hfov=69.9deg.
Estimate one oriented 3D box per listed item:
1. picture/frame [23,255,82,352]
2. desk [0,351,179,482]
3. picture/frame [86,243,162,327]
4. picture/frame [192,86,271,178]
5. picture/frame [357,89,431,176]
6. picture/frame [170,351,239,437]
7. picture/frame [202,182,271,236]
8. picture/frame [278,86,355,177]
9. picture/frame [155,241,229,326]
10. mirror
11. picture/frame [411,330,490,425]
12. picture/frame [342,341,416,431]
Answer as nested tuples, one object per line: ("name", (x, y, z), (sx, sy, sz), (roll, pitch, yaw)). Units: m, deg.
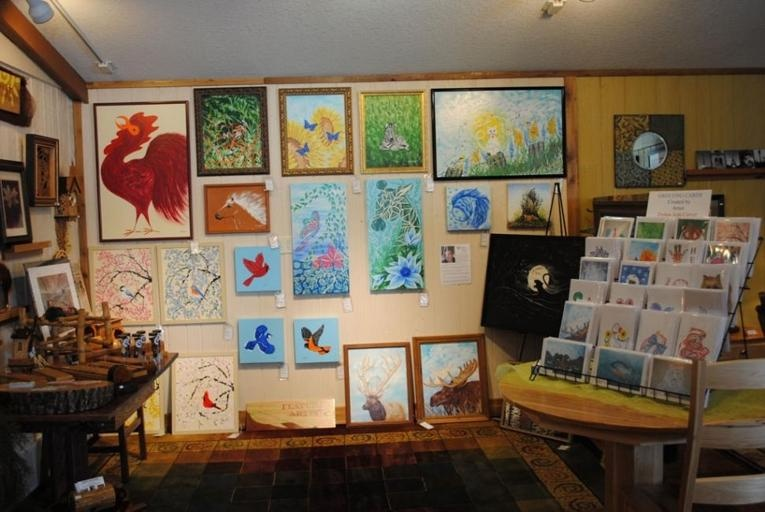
("picture/frame", (-2.756, 0.415, 4.532), (0.029, 0.668, 0.674), (-12, 6, 20))
("desk", (-2.190, 1.106, 3.934), (0.708, 0.267, 1.158), (0, 3, 0))
("picture/frame", (-2.560, 0.254, 5.376), (0.841, 0.994, 0.042), (1, 0, -3))
("picture/frame", (-1.506, -1.257, 5.407), (0.886, 1.015, 0.046), (0, 4, 2))
("picture/frame", (0.091, -1.261, 5.459), (0.847, 0.972, 0.067), (-1, 2, -4))
("picture/frame", (-1.758, 1.397, 5.407), (0.887, 1.052, 0.072), (0, -3, 0))
("picture/frame", (-1.455, -0.484, 5.438), (0.513, 0.397, 0.023), (0, 2, -5))
("picture/frame", (-0.680, -1.266, 5.426), (0.889, 0.984, 0.047), (-1, 7, 0))
("picture/frame", (-1.921, 0.261, 5.465), (0.848, 0.974, 0.046), (-1, -1, -3))
("mirror", (2.692, -1.090, 5.552), (0.770, 0.759, 0.029), (-1, 1, -9))
("picture/frame", (0.668, 1.260, 5.483), (0.844, 0.981, 0.072), (-2, -16, -4))
("picture/frame", (-0.055, 1.339, 5.457), (0.806, 0.920, 0.064), (-1, -9, 0))
